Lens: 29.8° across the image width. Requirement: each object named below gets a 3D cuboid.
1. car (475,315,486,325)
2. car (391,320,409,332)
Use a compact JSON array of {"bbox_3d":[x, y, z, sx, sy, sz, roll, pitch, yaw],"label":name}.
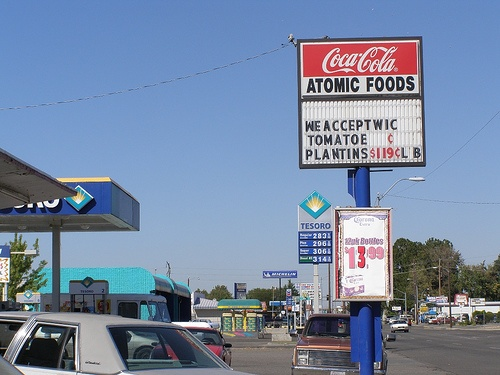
[{"bbox_3d":[30.090,17.231,122.843,1.177,1.667,6.723,-3,-12,13],"label":"car"},{"bbox_3d":[13.284,12.403,83.941,1.083,0.897,2.407,-3,-22,-1],"label":"car"}]
